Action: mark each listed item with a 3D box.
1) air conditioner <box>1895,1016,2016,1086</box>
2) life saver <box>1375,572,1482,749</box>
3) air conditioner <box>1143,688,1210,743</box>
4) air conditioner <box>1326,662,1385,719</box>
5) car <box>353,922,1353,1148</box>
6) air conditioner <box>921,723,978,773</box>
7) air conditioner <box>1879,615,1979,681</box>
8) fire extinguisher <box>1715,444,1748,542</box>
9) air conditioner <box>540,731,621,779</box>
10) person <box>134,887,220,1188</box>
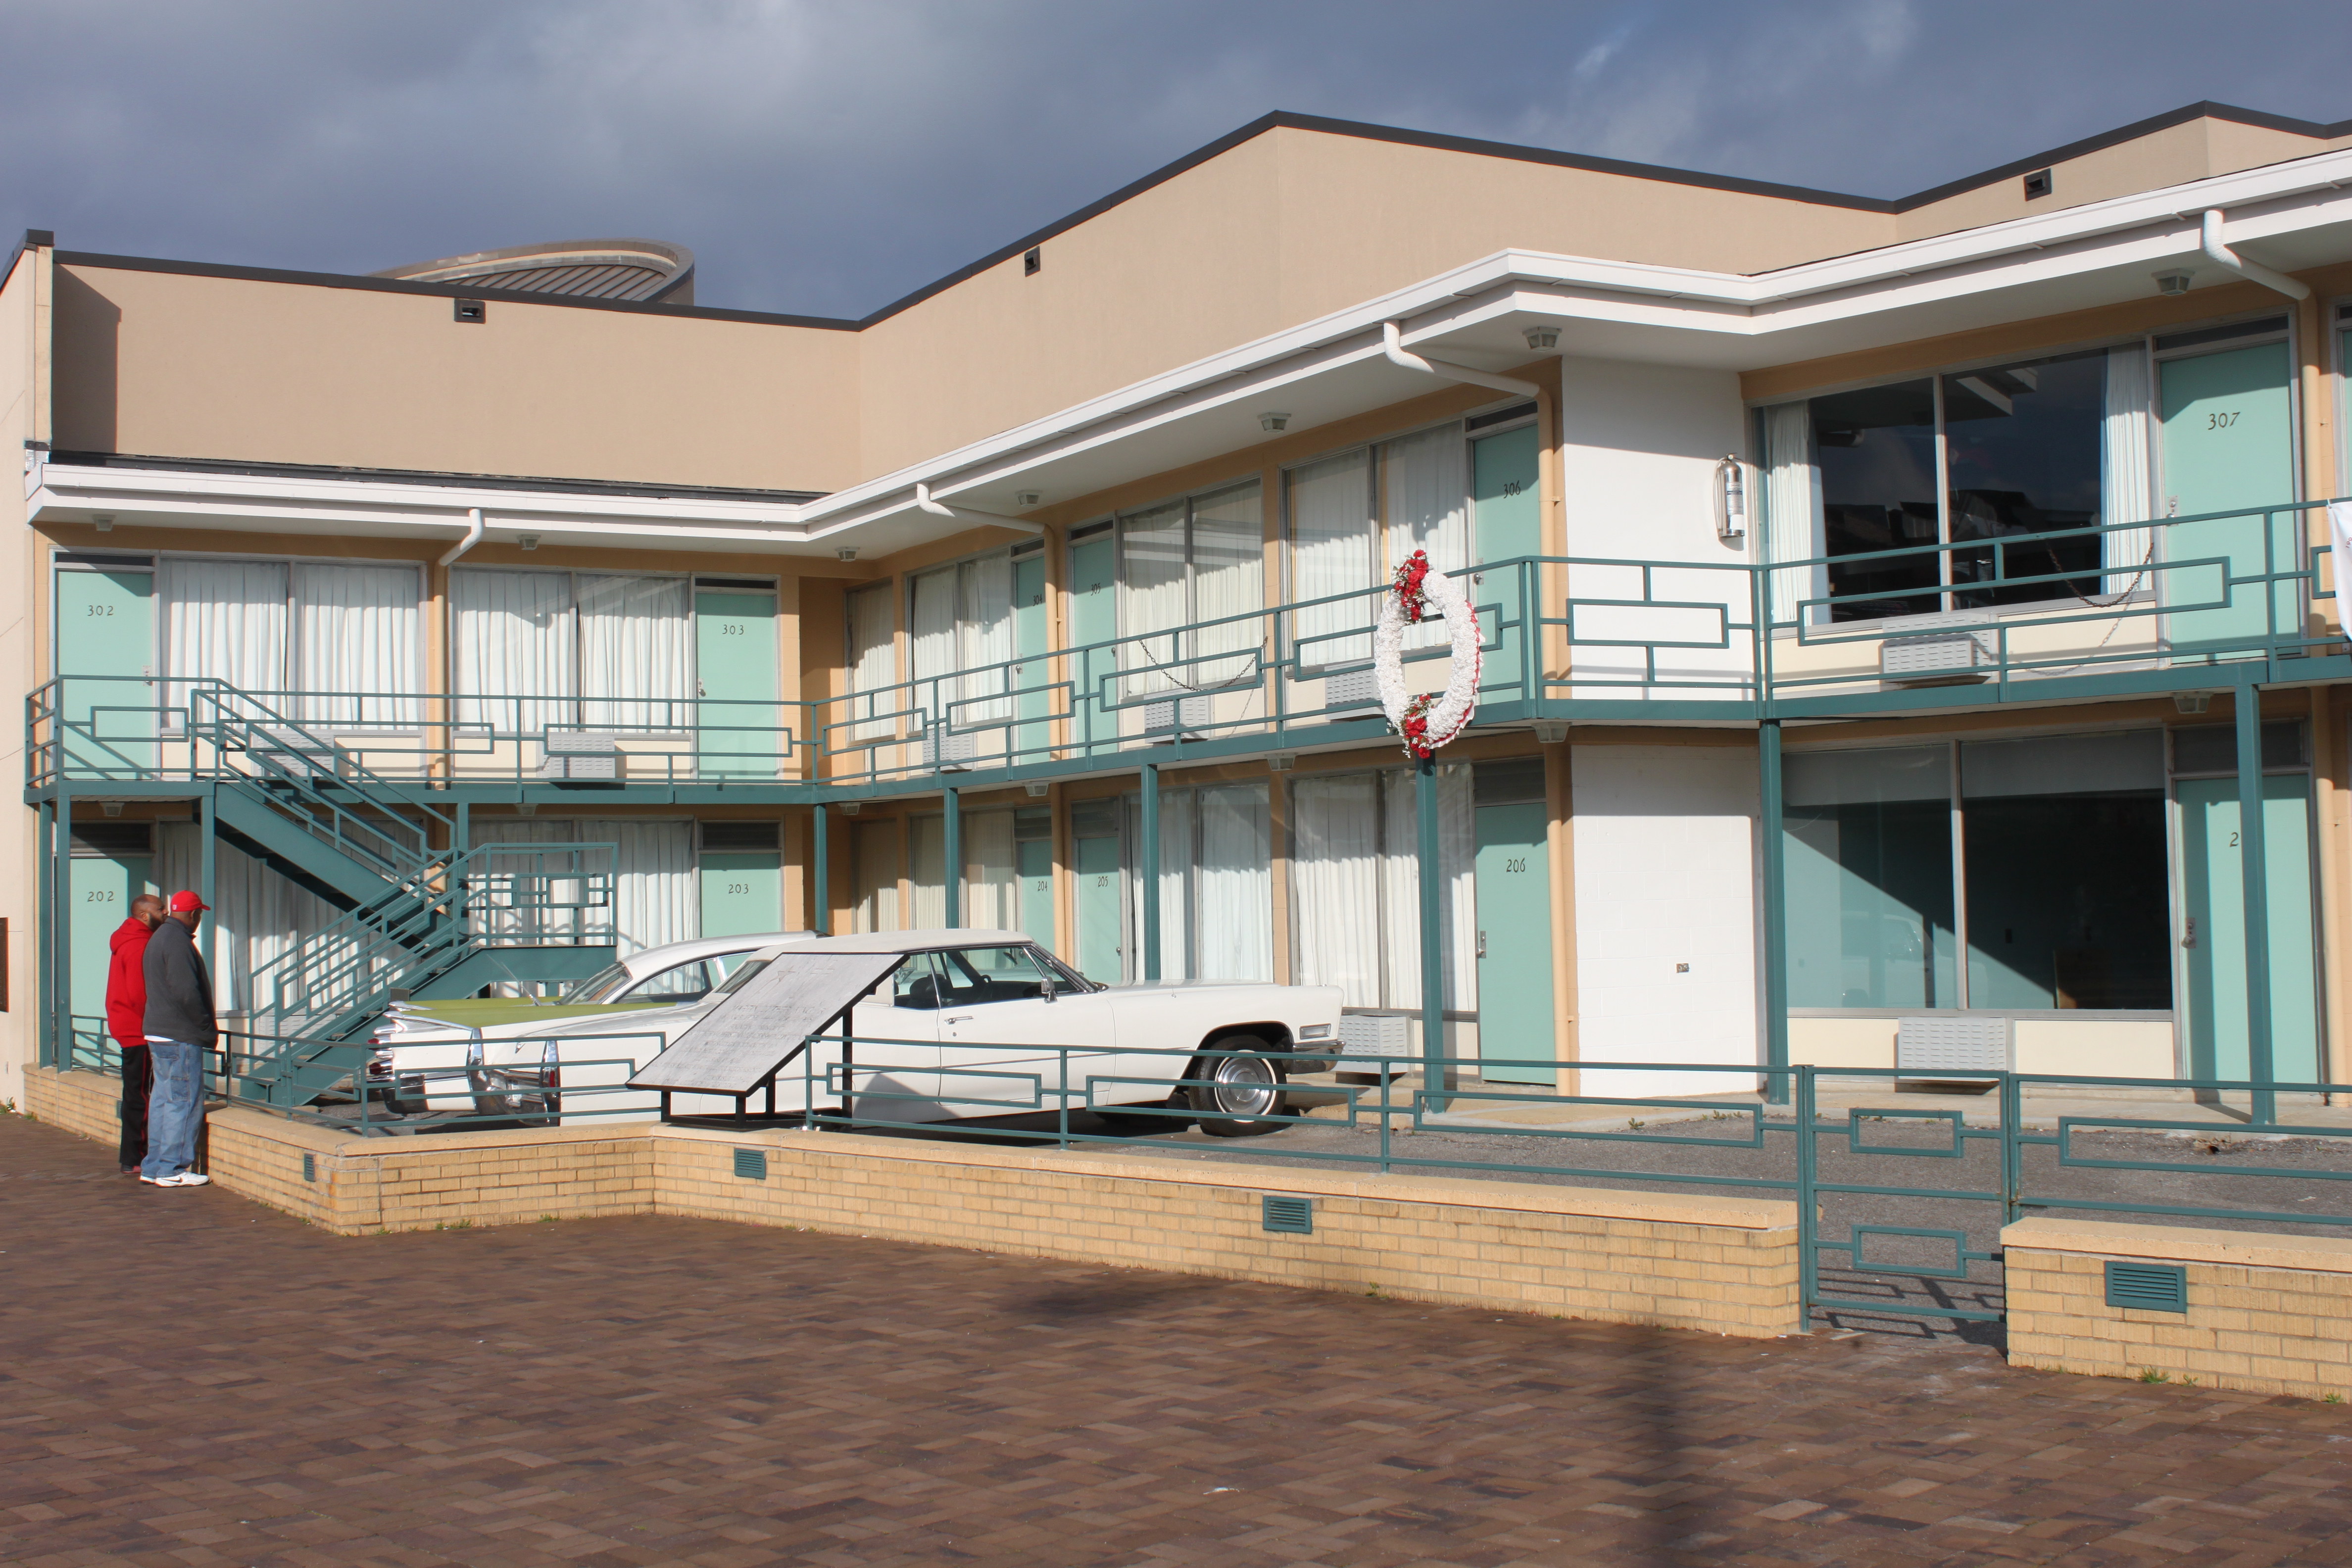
[{"bbox_3d":[6.329,2.193,20.578,0.973,0.656,3.712,-1,-5,17],"label":"air conditioner"},{"bbox_3d":[2.212,-0.977,21.514,0.500,1.387,1.245,6,-2,-31],"label":"life saver"},{"bbox_3d":[-0.042,-0.676,26.067,0.296,0.533,0.628,-16,15,-40],"label":"air conditioner"},{"bbox_3d":[1.696,-0.864,23.830,0.556,0.461,0.306,-11,-22,43],"label":"air conditioner"},{"bbox_3d":[-2.379,1.913,19.542,7.207,1.589,2.978,0,-5,0],"label":"car"},{"bbox_3d":[-2.601,-0.401,29.163,0.649,0.534,0.610,1,-3,-17],"label":"air conditioner"},{"bbox_3d":[6.445,-1.075,21.383,0.746,0.437,0.530,0,0,38],"label":"air conditioner"},{"bbox_3d":[5.041,-2.539,22.894,0.407,0.824,0.147,4,-7,-35],"label":"fire extinguisher"},{"bbox_3d":[-6.920,-0.321,29.256,0.633,0.334,0.644,0,-1,42],"label":"air conditioner"},{"bbox_3d":[-7.859,2.017,19.911,0.532,2.291,0.884,3,-6,-21],"label":"person"}]
